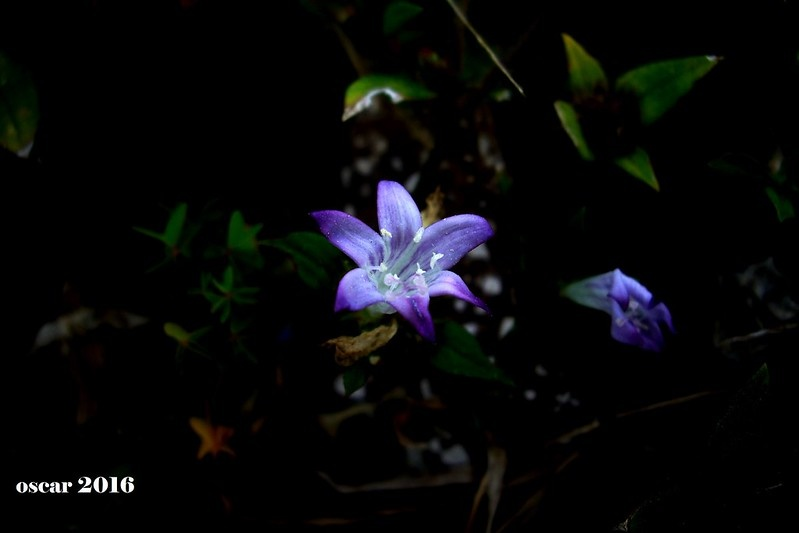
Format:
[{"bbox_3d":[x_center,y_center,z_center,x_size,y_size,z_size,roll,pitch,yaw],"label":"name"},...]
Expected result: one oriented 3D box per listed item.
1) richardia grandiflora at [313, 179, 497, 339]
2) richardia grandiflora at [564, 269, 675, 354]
[{"bbox_3d":[-0.001,-0.009,1.310,0.336,0.166,0.230,10,45,-2],"label":"richardia grandiflora"},{"bbox_3d":[0.434,0.057,1.487,0.223,0.123,0.114,21,59,29],"label":"richardia grandiflora"}]
